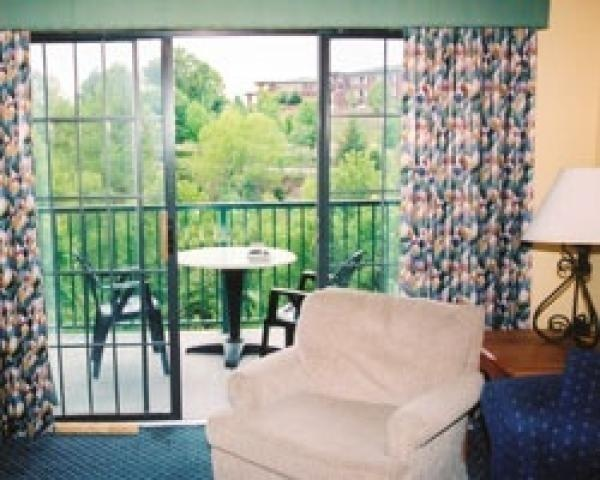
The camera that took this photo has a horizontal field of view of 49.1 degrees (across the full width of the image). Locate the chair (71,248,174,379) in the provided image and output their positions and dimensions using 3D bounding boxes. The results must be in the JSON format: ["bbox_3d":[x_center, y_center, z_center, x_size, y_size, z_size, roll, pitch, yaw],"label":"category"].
[{"bbox_3d":[-1.195,0.526,4.504,0.476,0.795,0.440,1,0,-8],"label":"chair"}]

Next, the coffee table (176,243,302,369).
[{"bbox_3d":[-0.544,0.531,5.636,0.850,0.850,0.947,1,1,-2],"label":"coffee table"}]
